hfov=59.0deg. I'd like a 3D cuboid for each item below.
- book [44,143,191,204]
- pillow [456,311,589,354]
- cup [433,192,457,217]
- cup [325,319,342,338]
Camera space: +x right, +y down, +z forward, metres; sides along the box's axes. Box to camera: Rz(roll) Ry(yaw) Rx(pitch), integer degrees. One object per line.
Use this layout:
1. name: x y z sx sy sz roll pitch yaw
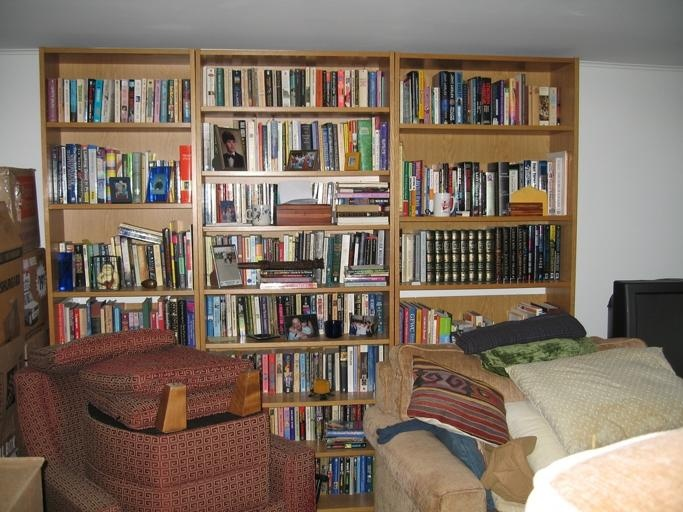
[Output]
1. book: -1.272 -0.479 3.504 0.789 0.332 0.121 -1 7 -7
2. pillow: 0.895 0.377 3.022 0.453 0.106 0.265 -13 -3 -9
3. cup: 0.631 -0.314 3.659 0.148 0.142 0.107 -1 7 -1
4. cup: -0.045 0.439 3.696 0.104 0.083 0.095 2 3 0
